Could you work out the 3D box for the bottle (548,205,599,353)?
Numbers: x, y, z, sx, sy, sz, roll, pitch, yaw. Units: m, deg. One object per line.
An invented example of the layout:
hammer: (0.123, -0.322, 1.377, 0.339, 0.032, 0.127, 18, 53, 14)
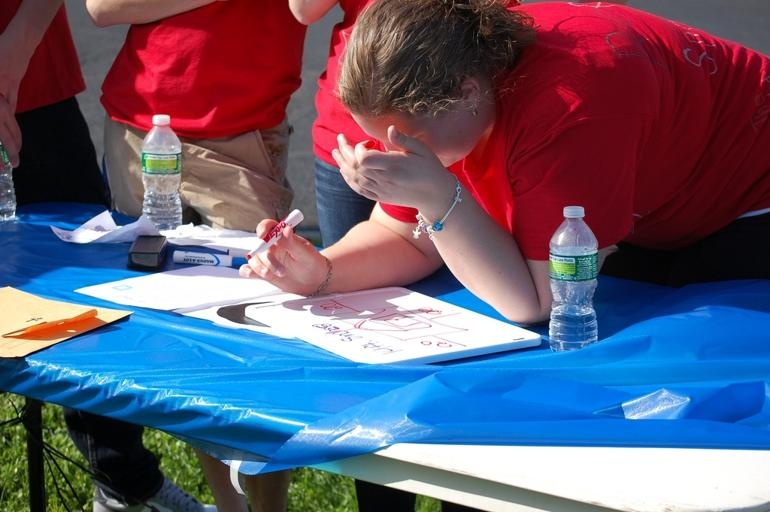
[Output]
bottle: (0.448, 0.059, 1.888, 0.132, 0.342, 0.120, -3, 6, -18)
